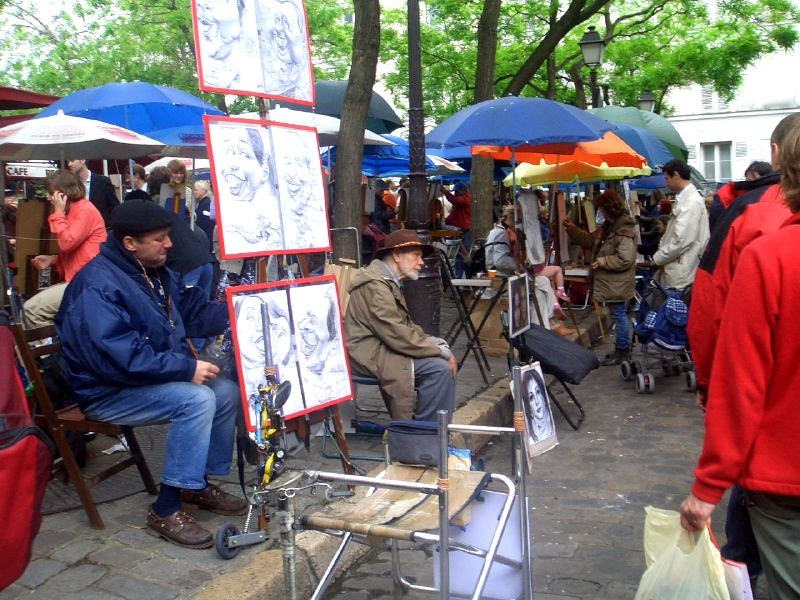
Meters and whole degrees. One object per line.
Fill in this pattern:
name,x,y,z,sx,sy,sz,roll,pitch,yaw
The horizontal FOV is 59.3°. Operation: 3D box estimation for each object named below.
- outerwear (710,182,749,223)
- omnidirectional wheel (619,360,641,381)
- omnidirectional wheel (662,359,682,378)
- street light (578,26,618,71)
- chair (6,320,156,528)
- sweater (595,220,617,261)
outerwear,2.423,-0.800,5.160,0.224,0.244,0.262,4,-19,11
omnidirectional wheel,2.772,0.832,8.442,0.234,0.228,0.274,9,11,35
omnidirectional wheel,3.314,0.802,8.427,0.204,0.197,0.340,0,-1,-25
street light,4.092,-5.495,14.905,0.667,0.830,0.638,-2,13,13
chair,-2.123,0.754,4.672,0.721,1.050,0.624,-10,-20,-38
sweater,2.644,-0.789,9.145,0.199,0.492,0.402,6,-6,-43
